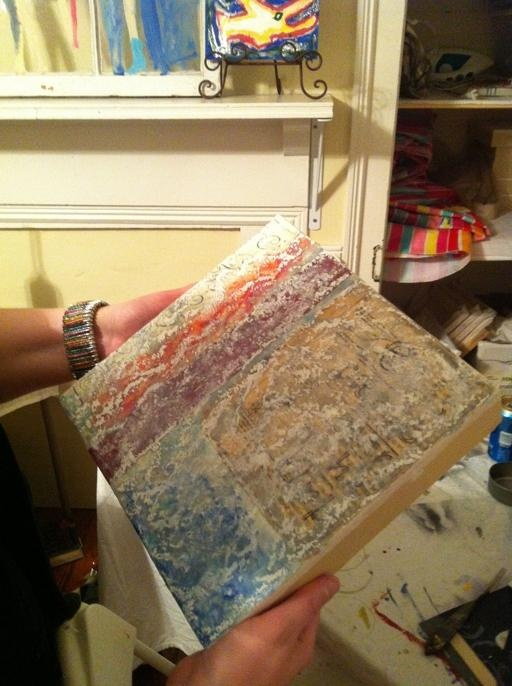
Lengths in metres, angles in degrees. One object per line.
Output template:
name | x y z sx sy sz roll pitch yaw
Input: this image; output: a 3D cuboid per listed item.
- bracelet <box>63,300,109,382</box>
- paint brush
bracelet | -0.253 -0.002 0.815 0.042 0.113 0.091 -6 -8 2
paint brush | 0.372 0.469 0.944 0.229 0.019 0.053 -27 35 -33
